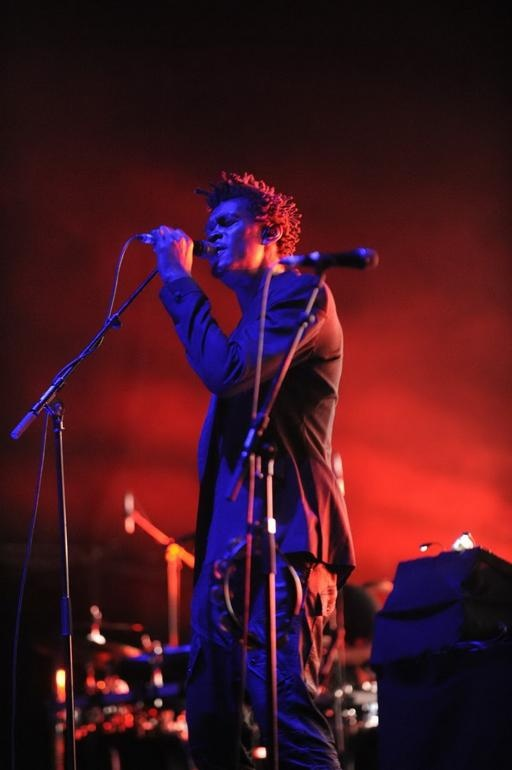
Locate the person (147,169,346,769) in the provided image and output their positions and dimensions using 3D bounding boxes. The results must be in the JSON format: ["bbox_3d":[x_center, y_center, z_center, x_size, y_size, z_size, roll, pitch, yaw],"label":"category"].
[{"bbox_3d":[-0.015,0.122,2.548,0.532,1.736,0.501,-5,-28,5],"label":"person"}]
